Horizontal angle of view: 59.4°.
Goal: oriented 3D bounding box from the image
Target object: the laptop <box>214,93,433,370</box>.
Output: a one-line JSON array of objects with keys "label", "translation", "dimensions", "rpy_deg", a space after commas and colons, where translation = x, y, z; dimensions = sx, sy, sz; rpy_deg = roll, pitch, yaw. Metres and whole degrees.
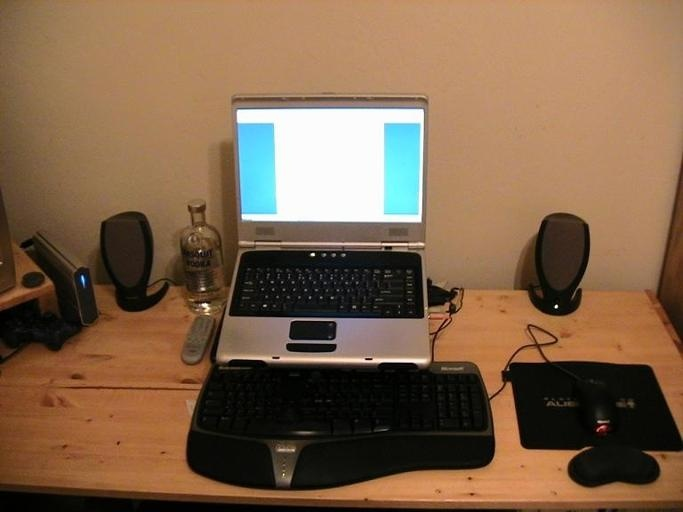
[{"label": "laptop", "translation": [-0.024, -0.013, 1.561], "dimensions": [0.581, 0.461, 0.612], "rpy_deg": [1, 52, 3]}]

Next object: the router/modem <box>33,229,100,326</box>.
[{"label": "router/modem", "translation": [-0.735, 0.059, 1.593], "dimensions": [0.055, 0.135, 0.220], "rpy_deg": [-17, 42, -38]}]

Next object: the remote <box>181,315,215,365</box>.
[{"label": "remote", "translation": [-0.359, 0.210, 1.503], "dimensions": [0.051, 0.027, 0.115], "rpy_deg": [4, 41, 10]}]

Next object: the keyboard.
[{"label": "keyboard", "translation": [-0.001, 0.361, 1.291], "dimensions": [0.639, 0.136, 0.253], "rpy_deg": [-1, 22, 3]}]
